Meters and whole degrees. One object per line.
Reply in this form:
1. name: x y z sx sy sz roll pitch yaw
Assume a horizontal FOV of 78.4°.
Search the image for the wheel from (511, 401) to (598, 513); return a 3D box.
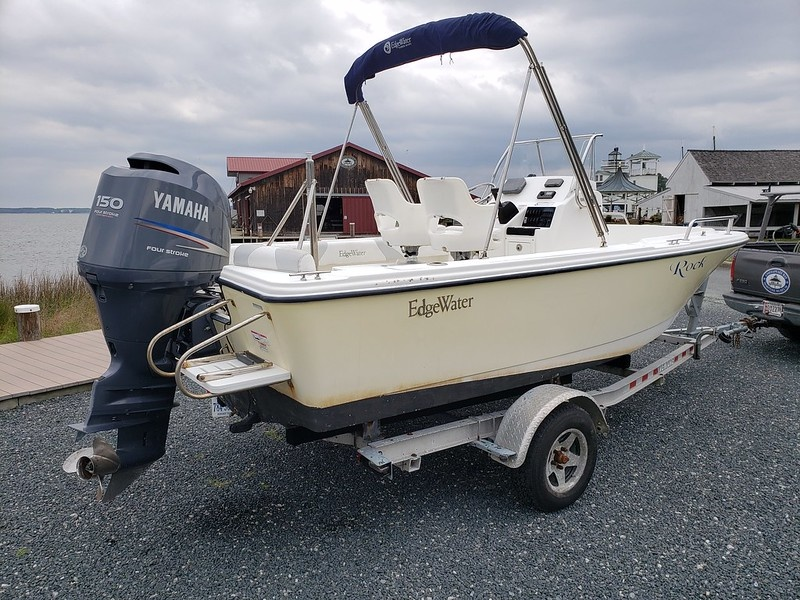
1. wheel: 0.951 0.982 3.094 0.637 0.673 0.201 -9 19 -33
